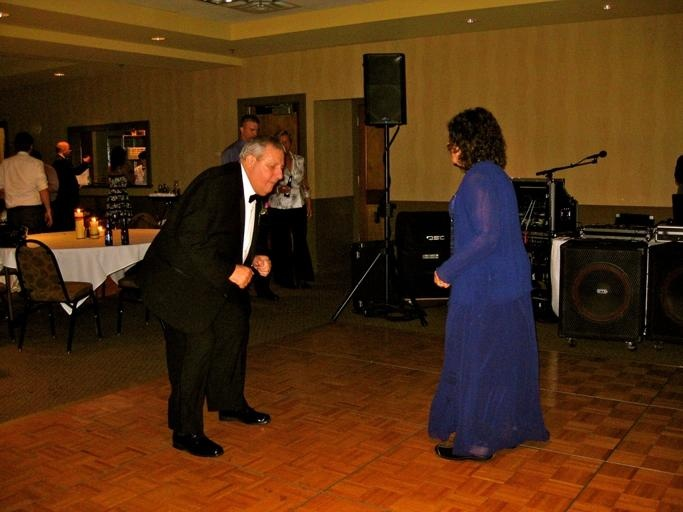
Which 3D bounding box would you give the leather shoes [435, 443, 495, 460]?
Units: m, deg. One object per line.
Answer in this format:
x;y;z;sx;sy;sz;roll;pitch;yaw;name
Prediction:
0.707;1.151;3.471;0.302;0.089;0.125;4;-2;15;leather shoes

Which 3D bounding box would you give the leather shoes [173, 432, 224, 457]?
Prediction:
-0.873;1.131;3.645;0.326;0.155;0.132;3;5;12;leather shoes

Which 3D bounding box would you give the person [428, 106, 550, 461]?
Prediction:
0.823;0.186;3.328;0.645;1.983;0.337;2;10;16;person

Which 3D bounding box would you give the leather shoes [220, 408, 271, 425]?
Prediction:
-0.646;1.062;4.045;0.339;0.158;0.130;0;-2;7;leather shoes

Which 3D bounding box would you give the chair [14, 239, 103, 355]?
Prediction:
-2.702;0.321;5.590;0.523;1.087;0.612;1;12;3;chair

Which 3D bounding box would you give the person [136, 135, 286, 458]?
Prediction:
-0.759;0.253;3.531;0.818;1.866;0.541;-4;10;-21;person

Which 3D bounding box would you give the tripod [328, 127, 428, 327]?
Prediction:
0.474;-0.444;6.918;0.994;2.053;1.882;0;10;4;tripod
